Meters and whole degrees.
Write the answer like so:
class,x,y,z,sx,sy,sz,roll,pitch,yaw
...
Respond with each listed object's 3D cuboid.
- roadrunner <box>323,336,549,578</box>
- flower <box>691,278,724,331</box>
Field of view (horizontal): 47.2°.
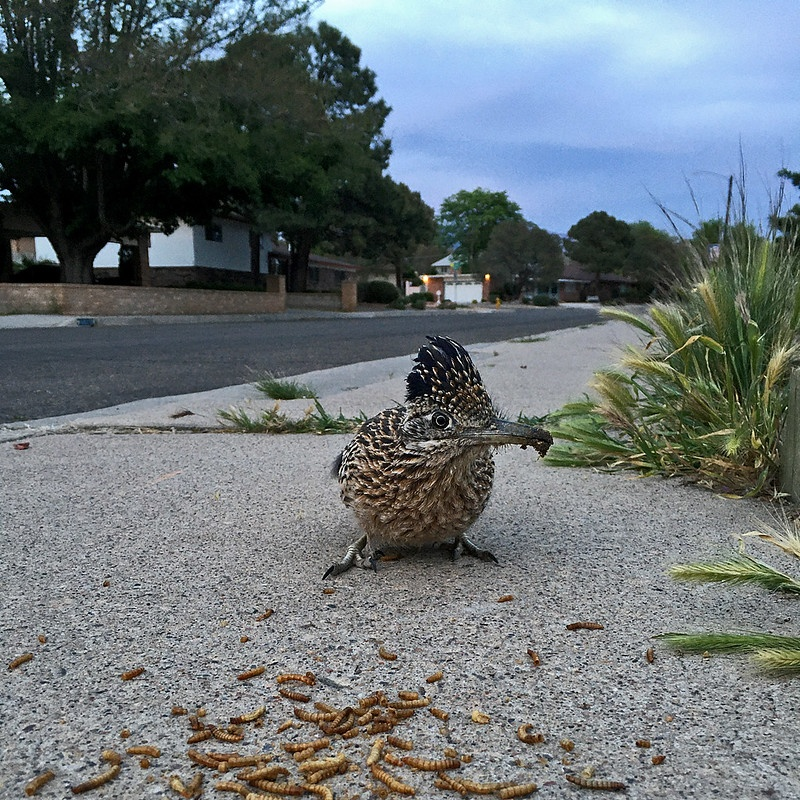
class,x,y,z,sx,sy,sz,roll,pitch,yaw
roadrunner,0.126,0.179,3.062,0.705,0.778,0.314,1,15,6
flower,1.440,-0.451,4.339,0.180,0.128,0.692,0,-8,23
